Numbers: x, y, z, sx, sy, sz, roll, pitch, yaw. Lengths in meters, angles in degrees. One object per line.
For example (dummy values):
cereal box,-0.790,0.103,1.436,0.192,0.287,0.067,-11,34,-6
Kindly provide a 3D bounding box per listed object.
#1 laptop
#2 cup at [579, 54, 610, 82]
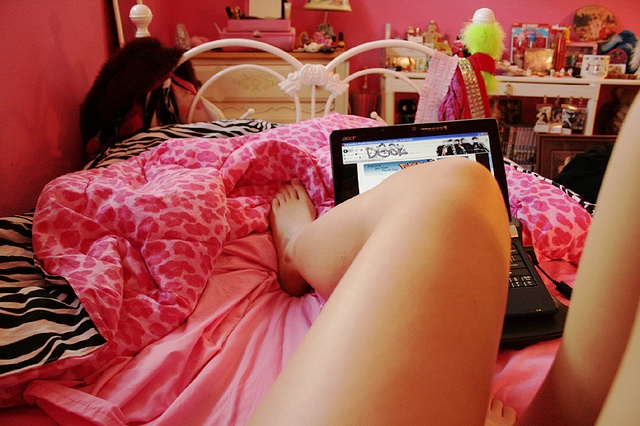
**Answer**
laptop,0.286,-0.012,1.133,0.531,0.542,0.375,-2,2,-1
cup,1.868,-0.982,3.070,0.169,0.181,0.175,-2,18,1
